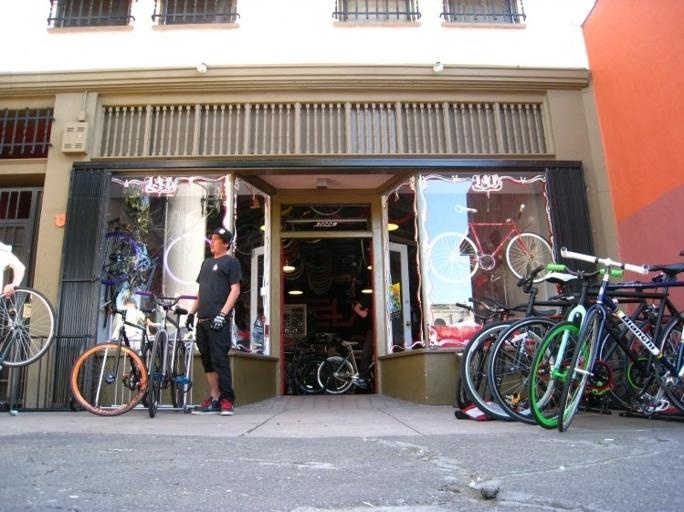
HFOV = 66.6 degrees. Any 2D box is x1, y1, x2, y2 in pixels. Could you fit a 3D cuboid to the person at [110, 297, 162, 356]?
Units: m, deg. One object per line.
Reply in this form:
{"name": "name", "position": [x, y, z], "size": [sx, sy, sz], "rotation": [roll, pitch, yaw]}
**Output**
{"name": "person", "position": [-2.224, 0.762, 5.557], "size": [0.385, 0.476, 0.747], "rotation": [-4, -15, -3]}

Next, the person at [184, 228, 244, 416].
{"name": "person", "position": [-1.285, 0.629, 5.346], "size": [0.567, 1.867, 0.343], "rotation": [-5, -10, 36]}

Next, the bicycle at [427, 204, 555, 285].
{"name": "bicycle", "position": [1.844, -0.083, 6.631], "size": [1.397, 0.891, 0.697], "rotation": [-1, -10, 0]}

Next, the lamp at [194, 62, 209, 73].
{"name": "lamp", "position": [-1.822, -2.460, 6.797], "size": [0.157, 0.163, 0.037], "rotation": [1, 9, -5]}

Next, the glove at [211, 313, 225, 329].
{"name": "glove", "position": [-1.204, 0.639, 5.139], "size": [0.130, 0.151, 0.082], "rotation": [3, -8, -20]}

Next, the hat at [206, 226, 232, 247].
{"name": "hat", "position": [-1.373, -0.225, 5.857], "size": [0.227, 0.135, 0.171], "rotation": [26, -6, -20]}

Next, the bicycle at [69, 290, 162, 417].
{"name": "bicycle", "position": [-2.222, 1.118, 5.475], "size": [0.748, 0.906, 1.396], "rotation": [4, -8, -5]}

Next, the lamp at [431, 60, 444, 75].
{"name": "lamp", "position": [1.283, -2.492, 6.856], "size": [0.169, 0.152, 0.091], "rotation": [1, -8, -7]}

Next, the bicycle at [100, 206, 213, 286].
{"name": "bicycle", "position": [-2.370, 0.011, 6.899], "size": [1.269, 0.811, 0.681], "rotation": [3, -5, -8]}

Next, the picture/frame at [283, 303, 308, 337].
{"name": "picture/frame", "position": [-1.234, 1.816, 15.195], "size": [0.713, 0.971, 1.344], "rotation": [-1, 1, 9]}

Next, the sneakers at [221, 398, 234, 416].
{"name": "sneakers", "position": [-1.131, 1.471, 5.139], "size": [0.127, 0.140, 0.233], "rotation": [2, -7, -13]}

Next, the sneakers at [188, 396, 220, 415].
{"name": "sneakers", "position": [-1.383, 1.497, 5.290], "size": [0.288, 0.134, 0.305], "rotation": [3, -7, -15]}
